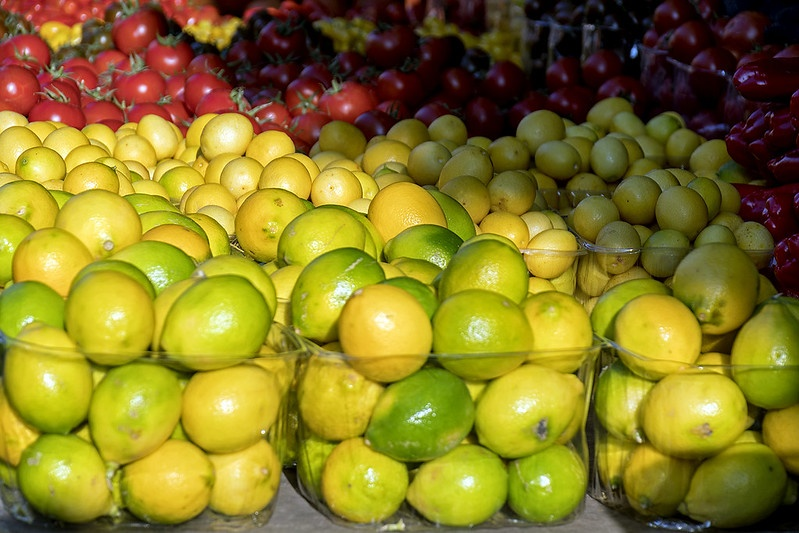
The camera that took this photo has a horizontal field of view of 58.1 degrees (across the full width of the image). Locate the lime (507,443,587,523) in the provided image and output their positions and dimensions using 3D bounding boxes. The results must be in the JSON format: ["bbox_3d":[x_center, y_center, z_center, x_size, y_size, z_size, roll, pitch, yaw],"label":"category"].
[{"bbox_3d":[0.394,0.583,1.916,0.234,0.164,0.131,-18,45,-11],"label":"lime"}]

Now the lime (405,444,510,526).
[{"bbox_3d":[0.158,0.569,1.933,0.241,0.186,0.178,-21,83,6],"label":"lime"}]

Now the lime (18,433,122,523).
[{"bbox_3d":[-0.844,0.539,1.840,0.237,0.180,0.155,0,44,8],"label":"lime"}]

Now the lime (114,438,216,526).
[{"bbox_3d":[-0.594,0.559,1.849,0.228,0.174,0.152,-29,48,-21],"label":"lime"}]

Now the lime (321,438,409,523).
[{"bbox_3d":[-0.090,0.547,1.941,0.214,0.211,0.224,-4,84,8],"label":"lime"}]

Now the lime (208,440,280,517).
[{"bbox_3d":[-0.418,0.534,1.972,0.185,0.221,0.181,-6,38,-22],"label":"lime"}]

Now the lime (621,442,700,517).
[{"bbox_3d":[0.685,0.580,1.984,0.152,0.165,0.205,30,61,22],"label":"lime"}]
